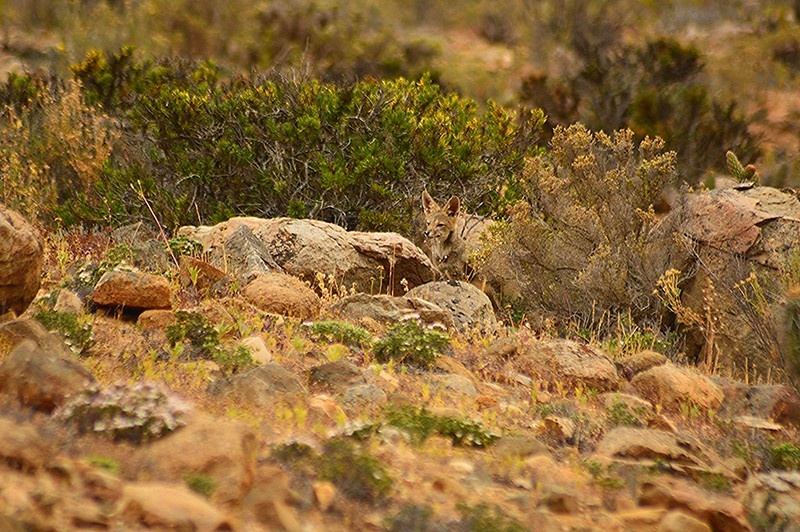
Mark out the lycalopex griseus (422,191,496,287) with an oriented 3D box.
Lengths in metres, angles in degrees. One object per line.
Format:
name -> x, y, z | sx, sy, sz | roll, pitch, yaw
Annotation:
lycalopex griseus -> 0.549, -0.349, 17.541 | 0.582, 1.436, 1.681 | -6, 1, 45
